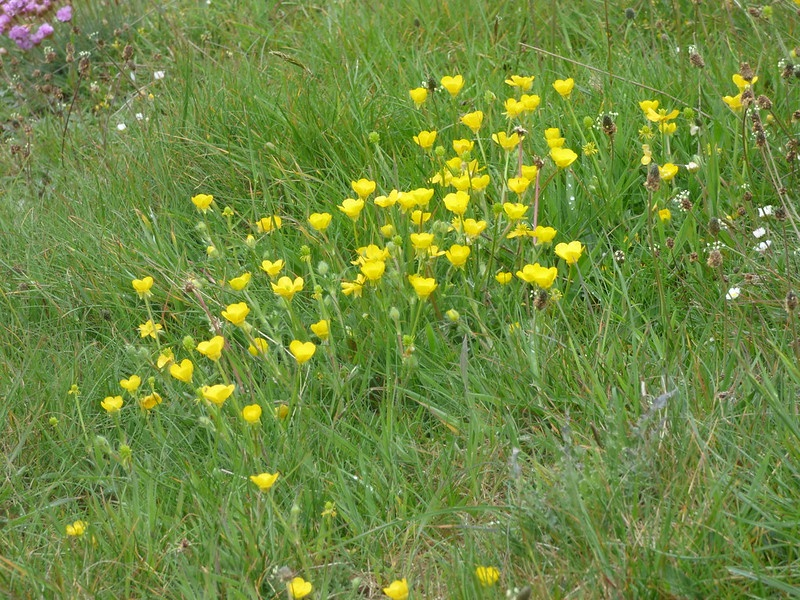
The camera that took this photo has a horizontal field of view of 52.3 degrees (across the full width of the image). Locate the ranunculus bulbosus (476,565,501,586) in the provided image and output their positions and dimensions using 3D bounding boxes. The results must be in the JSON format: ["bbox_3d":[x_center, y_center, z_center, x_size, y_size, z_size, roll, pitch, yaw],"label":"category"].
[{"bbox_3d":[0.238,0.766,2.263,0.052,0.066,0.038,6,66,11],"label":"ranunculus bulbosus"}]
